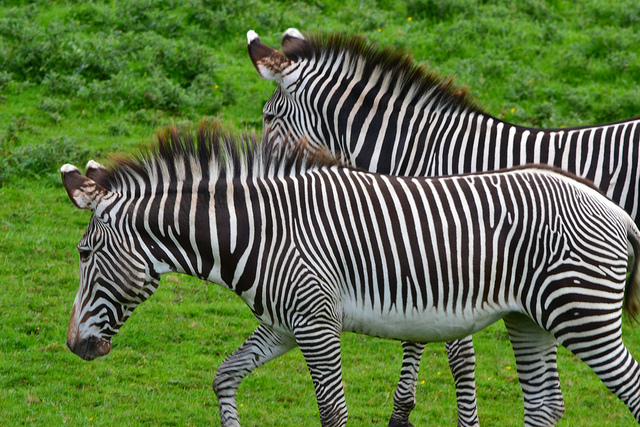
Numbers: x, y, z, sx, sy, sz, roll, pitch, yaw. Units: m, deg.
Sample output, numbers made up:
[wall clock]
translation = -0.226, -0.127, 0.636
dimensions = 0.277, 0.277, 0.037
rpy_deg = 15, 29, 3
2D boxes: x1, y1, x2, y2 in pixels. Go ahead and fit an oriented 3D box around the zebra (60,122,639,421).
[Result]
[zebra]
translation = 0.366, 0.557, 10.662
dimensions = 5.510, 1.981, 1.501
rpy_deg = 8, 37, 0
